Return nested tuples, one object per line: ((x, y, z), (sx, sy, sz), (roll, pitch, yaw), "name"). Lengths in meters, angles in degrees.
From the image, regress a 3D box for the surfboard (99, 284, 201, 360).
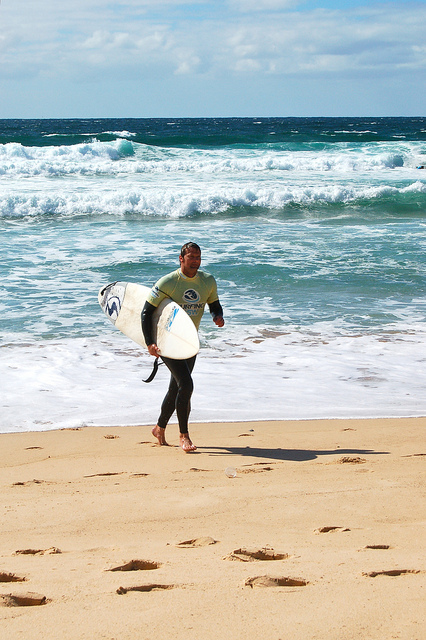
((-0.421, -0.030, 6.192), (0.118, 0.306, 1.081), (3, 22, -39), "surfboard")

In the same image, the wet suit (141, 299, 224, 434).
((-0.199, 0.341, 5.931), (0.514, 0.918, 0.390), (0, 14, -6), "wet suit")

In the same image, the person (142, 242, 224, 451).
((-0.202, 0.176, 5.911), (0.512, 1.385, 0.604), (1, 14, -1), "person")
